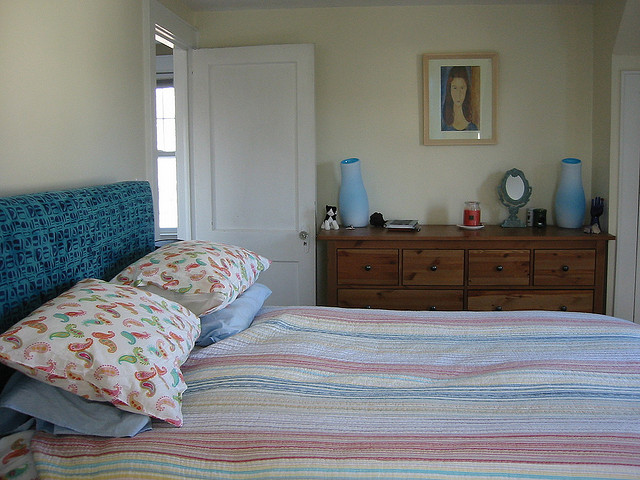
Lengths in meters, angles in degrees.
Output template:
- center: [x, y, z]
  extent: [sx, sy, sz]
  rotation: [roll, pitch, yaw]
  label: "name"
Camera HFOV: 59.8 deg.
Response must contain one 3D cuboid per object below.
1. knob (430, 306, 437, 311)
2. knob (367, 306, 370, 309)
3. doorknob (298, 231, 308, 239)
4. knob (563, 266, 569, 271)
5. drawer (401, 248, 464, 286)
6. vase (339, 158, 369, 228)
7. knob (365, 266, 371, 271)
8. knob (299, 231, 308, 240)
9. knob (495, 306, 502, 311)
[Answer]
- center: [0.752, 0.457, 3.693]
  extent: [0.037, 0.021, 0.012]
  rotation: [0, 12, 7]
  label: "knob"
- center: [0.323, 0.449, 3.729]
  extent: [0.019, 0.015, 0.010]
  rotation: [4, 12, 36]
  label: "knob"
- center: [-0.117, -0.034, 3.921]
  extent: [0.075, 0.057, 0.015]
  rotation: [0, 1, 1]
  label: "doorknob"
- center: [1.598, 0.187, 3.618]
  extent: [0.028, 0.017, 0.025]
  rotation: [-2, -23, 13]
  label: "knob"
- center: [0.749, 0.172, 3.787]
  extent: [0.456, 0.233, 0.264]
  rotation: [2, 7, 0]
  label: "drawer"
- center: [0.213, -0.329, 4.040]
  extent: [0.247, 0.456, 0.231]
  rotation: [-12, 14, -35]
  label: "vase"
- center: [0.319, 0.186, 3.686]
  extent: [0.037, 0.018, 0.033]
  rotation: [1, 6, 8]
  label: "knob"
- center: [-0.112, -0.033, 3.919]
  extent: [0.076, 0.058, 0.017]
  rotation: [0, 0, 0]
  label: "knob"
- center: [1.181, 0.454, 3.677]
  extent: [0.037, 0.030, 0.034]
  rotation: [-4, -17, 22]
  label: "knob"
